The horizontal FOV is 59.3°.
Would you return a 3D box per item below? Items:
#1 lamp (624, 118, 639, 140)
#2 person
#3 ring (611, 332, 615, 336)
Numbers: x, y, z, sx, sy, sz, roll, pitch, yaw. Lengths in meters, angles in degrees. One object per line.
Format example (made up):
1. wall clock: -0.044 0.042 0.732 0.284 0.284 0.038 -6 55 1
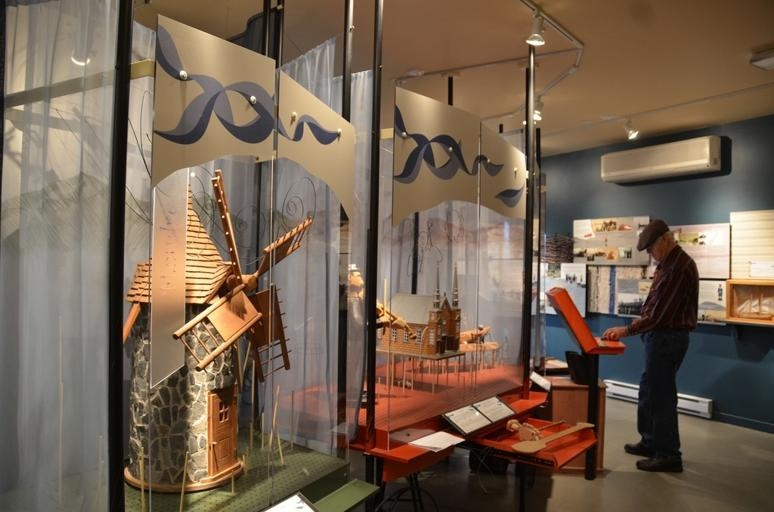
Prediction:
1. lamp: 2.773 -1.454 7.721 0.157 0.213 0.187 -20 -23 28
2. person: 2.531 0.816 6.332 0.582 2.268 0.552 4 6 25
3. ring: 2.071 0.713 6.227 0.029 0.027 0.035 6 10 3
